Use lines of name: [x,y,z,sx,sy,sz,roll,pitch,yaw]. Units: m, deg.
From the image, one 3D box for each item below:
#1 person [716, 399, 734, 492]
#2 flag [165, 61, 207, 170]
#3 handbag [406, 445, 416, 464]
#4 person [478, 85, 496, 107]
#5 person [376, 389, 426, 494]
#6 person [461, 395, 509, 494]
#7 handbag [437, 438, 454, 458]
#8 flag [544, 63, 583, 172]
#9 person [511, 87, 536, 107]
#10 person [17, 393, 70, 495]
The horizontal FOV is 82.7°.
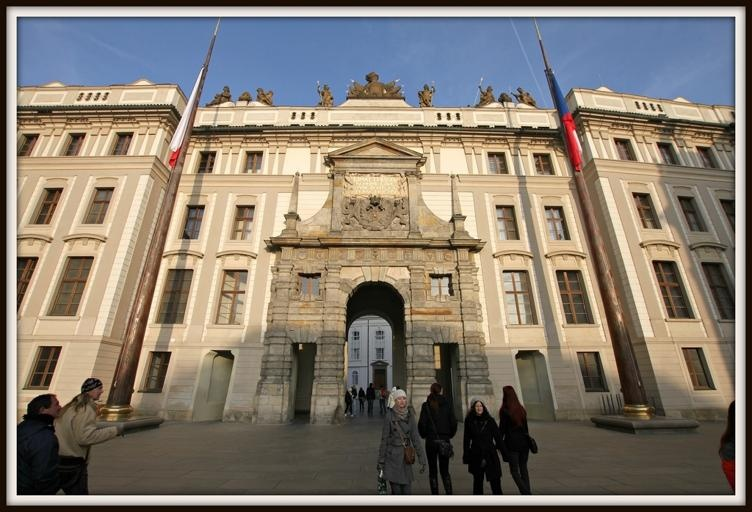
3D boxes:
person: [7.985,4.279,9.619,0.317,1.838,0.581,-5,-9,38]
flag: [-9.427,-6.974,21.702,0.403,6.767,0.980,17,-16,-14]
handbag: [0.854,4.827,10.355,0.257,0.439,0.283,3,-7,-17]
person: [7.539,-10.803,29.068,0.925,1.415,0.667,-4,-8,33]
person: [0.642,4.672,10.656,1.125,2.569,0.821,0,-7,5]
person: [2.728,4.836,10.847,0.931,2.344,0.356,-1,-7,13]
handbag: [1.823,5.006,11.150,0.386,0.452,0.412,0,-7,7]
flag: [9.722,-7.242,22.013,0.667,1.062,6.922,-11,-59,31]
person: [10.208,-10.723,28.974,1.146,1.428,0.464,1,-7,-1]
person: [-7.239,4.055,9.168,0.822,2.159,0.540,6,-9,-35]
